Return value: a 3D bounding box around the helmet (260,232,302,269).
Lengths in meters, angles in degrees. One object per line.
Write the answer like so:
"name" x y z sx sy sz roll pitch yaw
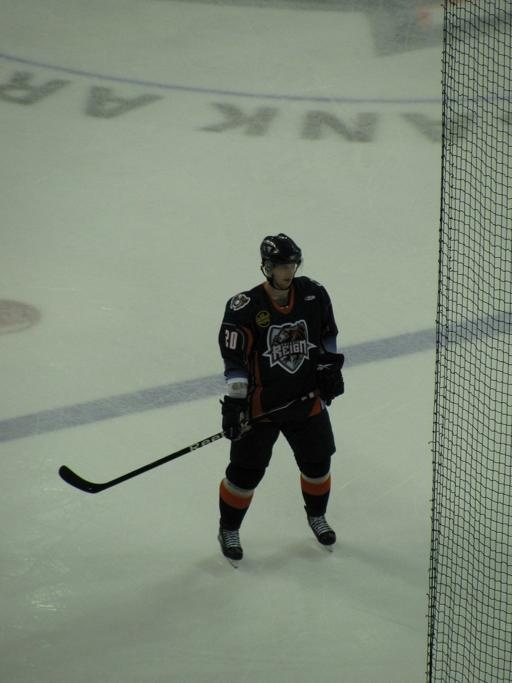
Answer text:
"helmet" 0.084 -0.310 2.826 0.137 0.112 0.108 -6 1 35

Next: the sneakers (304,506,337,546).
"sneakers" 0.240 0.672 3.065 0.064 0.073 0.182 -30 23 -8

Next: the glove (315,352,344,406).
"glove" 0.254 0.130 2.912 0.071 0.153 0.170 1 0 -39

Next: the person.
"person" 0.089 0.198 2.891 0.451 1.125 0.288 -2 17 -11

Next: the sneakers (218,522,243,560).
"sneakers" -0.099 0.719 2.979 0.057 0.055 0.147 -5 21 -16
